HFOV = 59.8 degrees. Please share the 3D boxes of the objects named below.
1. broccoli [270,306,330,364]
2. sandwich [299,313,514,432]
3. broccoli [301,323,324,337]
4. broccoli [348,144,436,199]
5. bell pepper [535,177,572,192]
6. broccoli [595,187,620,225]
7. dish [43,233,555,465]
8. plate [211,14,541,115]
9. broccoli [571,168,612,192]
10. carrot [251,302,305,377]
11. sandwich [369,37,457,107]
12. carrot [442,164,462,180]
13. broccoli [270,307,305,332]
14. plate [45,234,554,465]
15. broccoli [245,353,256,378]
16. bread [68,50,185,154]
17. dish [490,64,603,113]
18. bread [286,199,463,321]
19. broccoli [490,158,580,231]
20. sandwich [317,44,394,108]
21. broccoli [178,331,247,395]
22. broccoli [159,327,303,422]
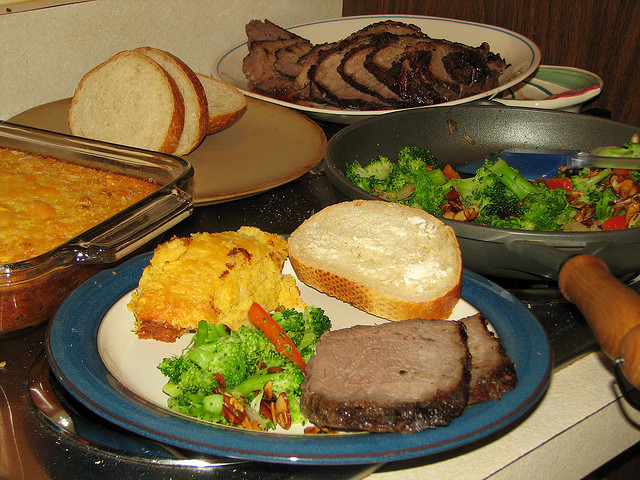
[{"bbox_3d":[-0.046,0.241,1.431,0.140,0.128,0.060,1,60,2],"label":"broccoli"},{"bbox_3d":[0.189,0.282,1.307,0.348,0.046,0.265,0,31,4],"label":"sandwich"},{"bbox_3d":[-0.013,0.242,1.487,0.037,0.012,0.037,-42,78,-17],"label":"broccoli"},{"bbox_3d":[0.269,-0.259,2.085,0.326,0.188,0.126,-26,24,-16],"label":"broccoli"},{"bbox_3d":[0.858,-0.203,2.039,0.077,0.054,0.025,-6,82,24],"label":"bell pepper"},{"bbox_3d":[0.981,-0.113,1.896,0.089,0.028,0.106,15,71,24],"label":"broccoli"},{"bbox_3d":[-0.068,0.278,1.383,1.246,0.141,0.600,5,42,7],"label":"dish"},{"bbox_3d":[0.265,-0.823,2.666,1.403,0.273,0.764,-3,22,11],"label":"plate"},{"bbox_3d":[0.981,-0.222,2.011,0.128,0.021,0.077,-26,61,-9],"label":"broccoli"},{"bbox_3d":[-0.129,0.251,1.484,0.242,0.046,0.066,45,41,16],"label":"carrot"},{"bbox_3d":[0.386,-0.777,2.575,0.301,0.132,0.532,-11,43,-10],"label":"sandwich"},{"bbox_3d":[0.494,-0.254,2.093,0.057,0.017,0.057,38,74,6],"label":"carrot"},{"bbox_3d":[-0.078,0.214,1.479,0.063,0.021,0.064,33,39,24],"label":"broccoli"},{"bbox_3d":[-0.116,0.183,1.422,0.995,0.435,0.812,-6,10,-33],"label":"plate"},{"bbox_3d":[-0.177,0.316,1.397,0.022,0.042,0.049,8,40,1],"label":"broccoli"},{"bbox_3d":[-0.739,-0.517,2.164,0.496,0.414,0.129,4,2,14],"label":"bread"},{"bbox_3d":[1.020,-0.688,2.549,0.495,0.196,0.353,18,31,38],"label":"dish"},{"bbox_3d":[0.186,0.037,1.688,0.517,0.120,0.378,22,50,24],"label":"bread"},{"bbox_3d":[0.730,-0.127,1.937,0.281,0.148,0.212,45,86,-1],"label":"broccoli"},{"bbox_3d":[0.162,-0.752,2.616,0.354,0.031,0.374,-22,47,-32],"label":"sandwich"},{"bbox_3d":[-0.255,0.291,1.376,0.100,0.109,0.141,-14,24,-36],"label":"broccoli"},{"bbox_3d":[-0.220,0.332,1.366,0.278,0.076,0.216,19,45,-10],"label":"broccoli"}]
